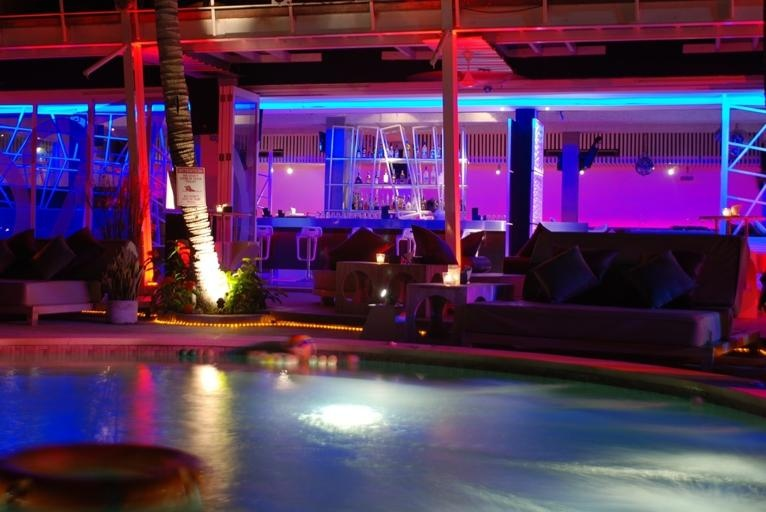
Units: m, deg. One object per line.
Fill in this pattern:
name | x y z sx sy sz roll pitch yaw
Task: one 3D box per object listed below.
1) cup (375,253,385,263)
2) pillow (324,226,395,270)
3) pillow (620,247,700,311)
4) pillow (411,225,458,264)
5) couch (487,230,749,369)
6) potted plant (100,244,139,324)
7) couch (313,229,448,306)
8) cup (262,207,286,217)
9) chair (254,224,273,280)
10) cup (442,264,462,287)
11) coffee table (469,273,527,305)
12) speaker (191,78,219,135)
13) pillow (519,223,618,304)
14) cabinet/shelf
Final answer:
cup | -0.043 0.014 8.451 0.111 0.098 0.101 0 -1 5
pillow | -0.467 -0.120 10.274 0.732 0.231 0.782 -1 42 -5
pillow | 2.480 0.209 6.687 0.571 0.492 0.346 6 11 21
pillow | 0.583 -0.143 8.652 0.635 0.536 0.527 -1 1 -39
couch | 2.276 0.300 6.890 1.953 1.027 1.607 6 11 21
potted plant | -2.962 0.306 8.448 0.424 0.806 0.746 -2 11 -20
couch | -0.347 0.079 10.369 1.412 0.829 1.102 -15 1 5
cup | -2.104 -0.823 13.798 0.374 0.223 0.375 1 1 0
chair | -2.332 -0.034 14.562 0.394 0.894 0.363 12 4 25
cup | 0.676 0.182 7.298 0.187 0.203 0.182 -1 -1 0
coffee table | 1.347 0.314 8.220 0.417 0.239 0.388 0 2 3
speaker | -2.955 -2.487 12.291 0.572 0.921 0.196 5 11 14
pillow | 1.737 0.178 7.256 0.703 0.614 0.225 22 -3 42
cabinet/shelf | 0.342 -1.320 14.447 2.756 1.275 0.480 2 1 23
